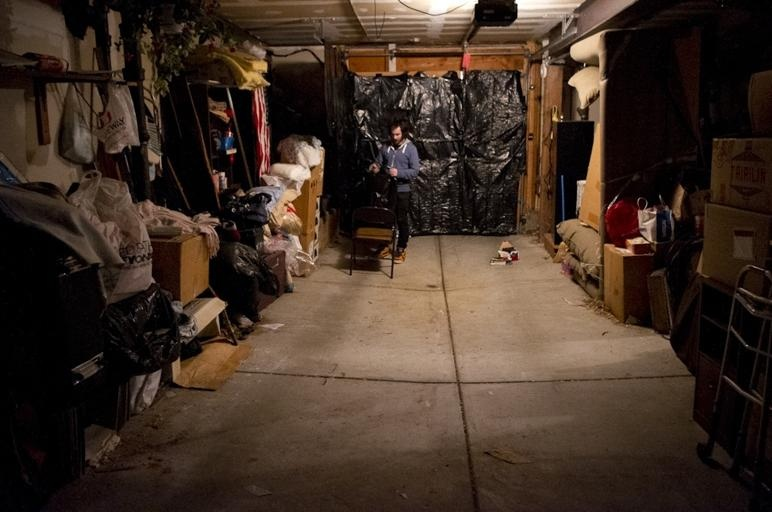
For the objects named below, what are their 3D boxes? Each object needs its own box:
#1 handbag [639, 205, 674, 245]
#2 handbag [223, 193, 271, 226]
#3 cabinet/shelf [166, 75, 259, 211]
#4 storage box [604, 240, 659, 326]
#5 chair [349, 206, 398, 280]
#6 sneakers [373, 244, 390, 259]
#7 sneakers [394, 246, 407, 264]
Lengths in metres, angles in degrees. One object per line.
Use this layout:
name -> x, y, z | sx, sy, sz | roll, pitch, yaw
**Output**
handbag -> 2.843, -0.322, 5.524 | 0.395, 0.398, 0.315 | -3, 12, -12
handbag -> -1.543, -0.509, 5.870 | 0.462, 0.204, 0.362 | 11, 10, 42
cabinet/shelf -> -2.057, -1.346, 6.140 | 0.526, 1.552, 1.664 | 0, 5, 5
storage box -> 2.870, 0.269, 6.032 | 0.634, 1.164, 1.206 | 2, 0, 20
chair -> -0.176, -0.216, 7.390 | 0.665, 0.940, 0.749 | 5, 2, 15
sneakers -> -0.050, -0.063, 7.948 | 0.107, 0.127, 0.318 | -12, -21, 7
sneakers -> 0.203, -0.020, 7.913 | 0.255, 0.227, 0.532 | 0, 1, 2
